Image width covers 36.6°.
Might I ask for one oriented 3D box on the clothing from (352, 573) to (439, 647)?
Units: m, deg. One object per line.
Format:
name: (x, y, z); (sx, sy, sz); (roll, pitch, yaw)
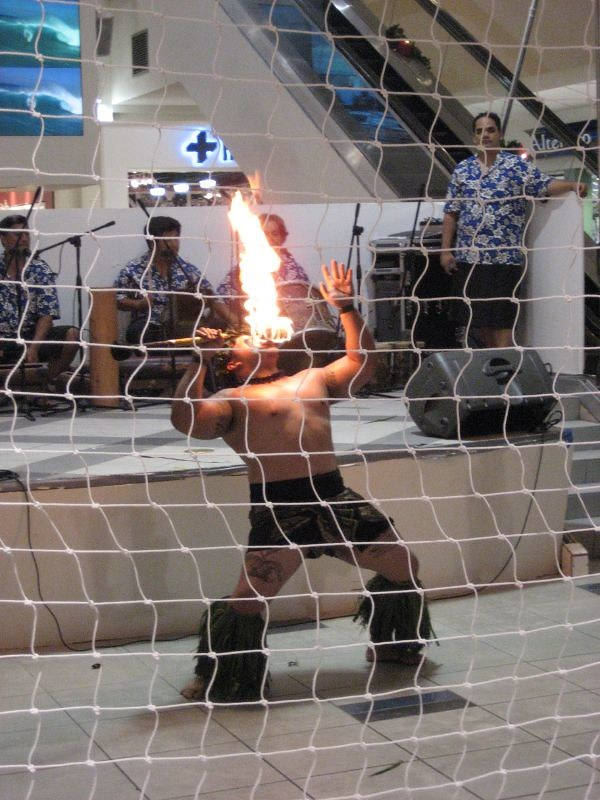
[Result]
clothing: (0.274, 0.642, 2.735); (0.230, 0.181, 0.145); (-11, -31, 24)

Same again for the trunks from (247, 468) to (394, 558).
trunks: (0.033, 0.341, 2.635); (0.473, 0.203, 0.217); (-10, -5, -26)

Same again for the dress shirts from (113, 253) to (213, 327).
dress shirts: (-0.817, -0.659, 5.255); (0.815, 0.377, 0.228); (-10, 24, -39)

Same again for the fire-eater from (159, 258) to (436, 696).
fire-eater: (-0.018, 0.215, 2.619); (0.842, 1.145, 0.344); (-6, 1, -24)

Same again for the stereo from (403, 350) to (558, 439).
stereo: (0.762, -0.038, 3.769); (0.559, 0.289, 0.432); (-5, 7, -25)

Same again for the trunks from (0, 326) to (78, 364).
trunks: (-1.308, -0.278, 4.543); (0.341, 0.109, 0.274); (-3, 43, -5)

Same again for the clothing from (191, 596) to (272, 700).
clothing: (-0.181, 0.691, 2.466); (0.206, 0.264, 0.275); (1, 6, -4)

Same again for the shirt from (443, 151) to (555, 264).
shirt: (0.992, -0.922, 4.300); (0.635, 0.476, 0.272); (10, 30, 35)
